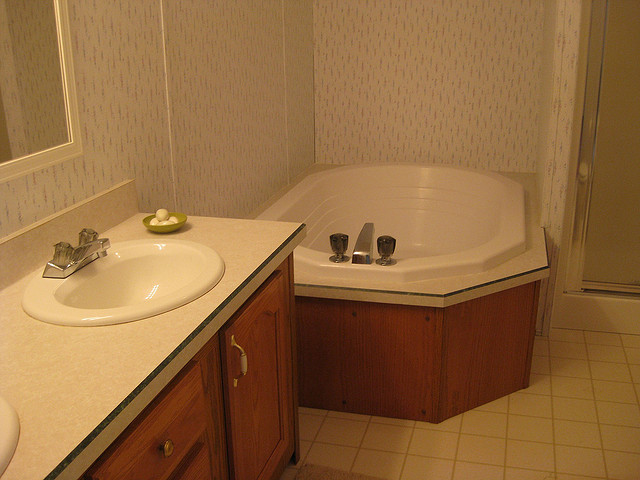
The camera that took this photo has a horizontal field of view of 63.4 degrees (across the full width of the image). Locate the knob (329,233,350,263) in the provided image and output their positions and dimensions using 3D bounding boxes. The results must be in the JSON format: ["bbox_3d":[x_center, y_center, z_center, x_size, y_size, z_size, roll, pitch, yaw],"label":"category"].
[{"bbox_3d":[0.074,0.017,2.178,0.093,0.121,0.105,-6,26,-8],"label":"knob"}]

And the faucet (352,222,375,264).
[{"bbox_3d":[0.197,0.016,2.267,0.051,0.058,0.265,3,24,12],"label":"faucet"}]

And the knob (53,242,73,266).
[{"bbox_3d":[-0.660,0.034,1.329,0.048,0.052,0.036,9,24,22],"label":"knob"}]

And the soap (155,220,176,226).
[{"bbox_3d":[-0.484,-0.054,1.621,0.052,0.008,0.036,-4,24,-10],"label":"soap"}]

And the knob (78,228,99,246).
[{"bbox_3d":[-0.637,-0.021,1.433,0.045,0.049,0.047,-10,35,-42],"label":"knob"}]

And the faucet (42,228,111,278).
[{"bbox_3d":[-0.675,0.055,1.396,0.083,0.081,0.202,14,-1,-12],"label":"faucet"}]

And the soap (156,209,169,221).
[{"bbox_3d":[-0.495,-0.080,1.632,0.032,0.041,0.033,-25,63,-22],"label":"soap"}]

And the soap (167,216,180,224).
[{"bbox_3d":[-0.463,-0.068,1.649,0.022,0.017,0.022,-19,45,-36],"label":"soap"}]

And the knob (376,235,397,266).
[{"bbox_3d":[0.269,0.042,2.169,0.096,0.126,0.103,-8,22,-14],"label":"knob"}]

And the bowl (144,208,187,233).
[{"bbox_3d":[-0.488,-0.080,1.640,0.083,0.056,0.095,2,13,8],"label":"bowl"}]
